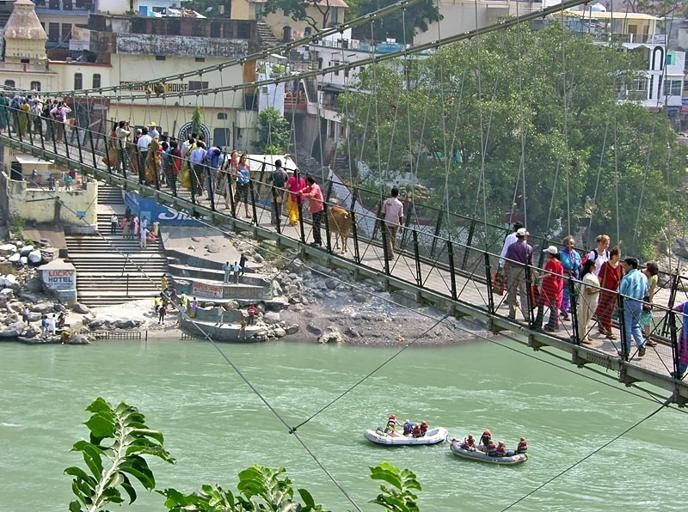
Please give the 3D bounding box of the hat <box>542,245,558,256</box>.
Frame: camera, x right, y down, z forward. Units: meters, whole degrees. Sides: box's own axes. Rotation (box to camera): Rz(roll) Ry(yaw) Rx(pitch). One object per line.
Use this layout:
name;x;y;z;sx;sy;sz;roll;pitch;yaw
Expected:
hat;7.373;-0.197;61.848;0.428;0.240;0.299;9;18;36

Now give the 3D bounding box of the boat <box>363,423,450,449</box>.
boat;2.789;8.098;77.032;2.948;0.818;2.712;-2;-1;-23

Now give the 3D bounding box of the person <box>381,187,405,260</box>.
person;1.820;-1.195;64.876;0.864;2.566;0.706;0;3;34

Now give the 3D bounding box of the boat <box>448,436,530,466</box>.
boat;6.293;8.703;76.101;3.281;0.939;0.615;3;6;7

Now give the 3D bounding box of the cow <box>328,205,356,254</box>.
cow;-0.045;-1.026;65.452;0.810;1.669;2.840;6;3;-20
